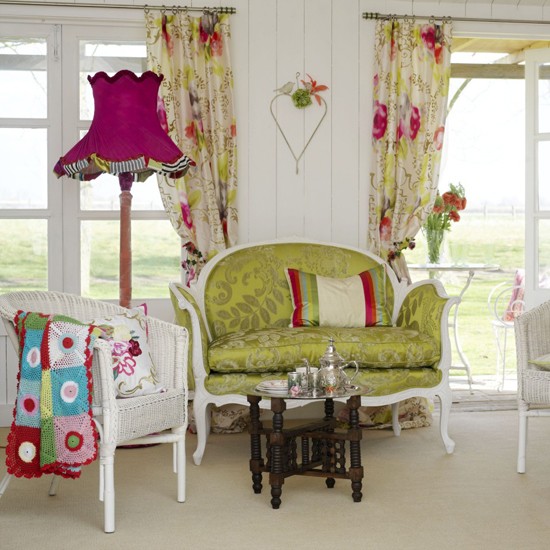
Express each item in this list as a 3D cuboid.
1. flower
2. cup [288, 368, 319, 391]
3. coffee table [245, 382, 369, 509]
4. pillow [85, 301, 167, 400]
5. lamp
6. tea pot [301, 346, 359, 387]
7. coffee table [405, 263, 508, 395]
[{"bbox_3d":[1.191,-0.378,4.879,0.302,0.508,0.321,10,8,7],"label":"flower"},{"bbox_3d":[0.129,0.419,2.742,0.120,0.122,0.071,0,-3,16],"label":"cup"},{"bbox_3d":[0.145,0.680,2.781,0.431,0.360,0.462,1,4,22],"label":"coffee table"},{"bbox_3d":[-0.569,0.298,2.633,0.263,0.324,0.493,-1,2,-15],"label":"pillow"},{"bbox_3d":[-0.777,-0.440,3.503,0.650,1.198,0.632,-2,2,-39],"label":"lamp"},{"bbox_3d":[0.236,0.363,2.821,0.264,0.198,0.172,-1,0,-9],"label":"tea pot"},{"bbox_3d":[1.236,0.357,4.827,0.681,0.844,0.683,0,0,31],"label":"coffee table"}]
